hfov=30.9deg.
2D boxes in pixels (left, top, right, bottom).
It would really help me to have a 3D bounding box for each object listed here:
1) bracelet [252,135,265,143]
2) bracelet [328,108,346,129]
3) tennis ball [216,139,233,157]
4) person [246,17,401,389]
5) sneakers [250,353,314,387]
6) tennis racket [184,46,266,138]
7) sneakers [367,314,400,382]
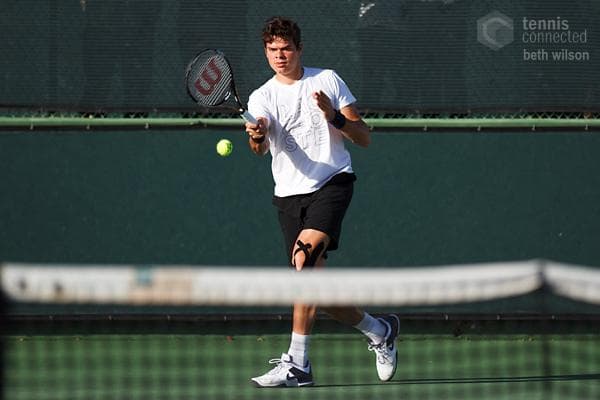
[{"bbox_3d":[-0.340,-0.488,8.825,0.064,0.048,0.066,-18,37,-17],"label":"bracelet"},{"bbox_3d":[0.310,-0.650,8.825,0.139,0.115,0.106,35,0,43],"label":"bracelet"},{"bbox_3d":[-0.707,-0.490,10.185,0.135,0.145,0.131,-2,3,0],"label":"tennis ball"},{"bbox_3d":[0.143,0.015,8.991,1.169,3.041,0.522,0,5,-4],"label":"person"},{"bbox_3d":[-0.117,1.422,9.085,0.577,0.312,0.218,2,-7,0],"label":"sneakers"},{"bbox_3d":[-0.656,-0.991,9.606,0.814,0.336,0.064,31,1,-23],"label":"tennis racket"},{"bbox_3d":[0.736,1.270,9.244,0.183,0.605,0.259,1,-4,36],"label":"sneakers"}]
